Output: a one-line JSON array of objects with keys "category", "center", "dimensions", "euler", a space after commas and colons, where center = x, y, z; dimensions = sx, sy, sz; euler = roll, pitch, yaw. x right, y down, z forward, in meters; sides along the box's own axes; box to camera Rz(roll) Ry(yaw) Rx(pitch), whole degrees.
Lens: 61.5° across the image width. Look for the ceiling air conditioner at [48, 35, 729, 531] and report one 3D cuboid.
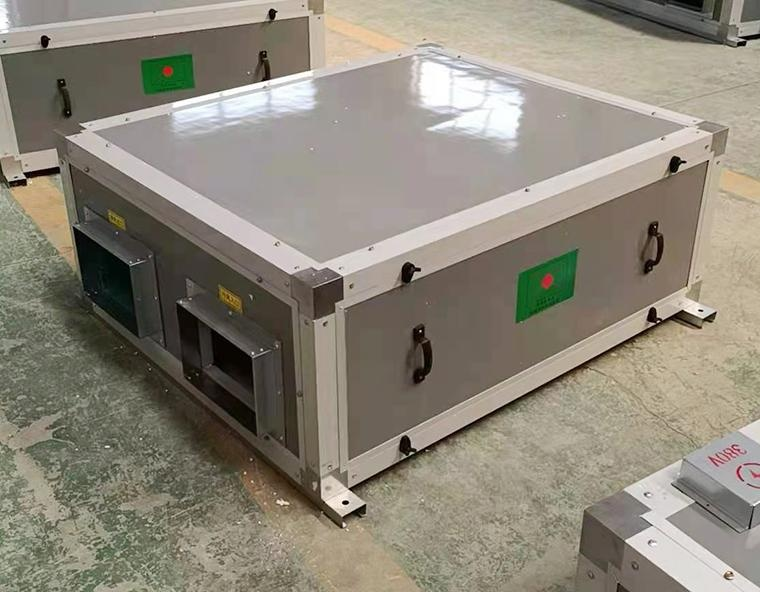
[{"category": "ceiling air conditioner", "center": [0.202, -0.253, 1.896], "dimensions": [1.512, 0.640, 1.408], "euler": [-25, 44, -32]}]
